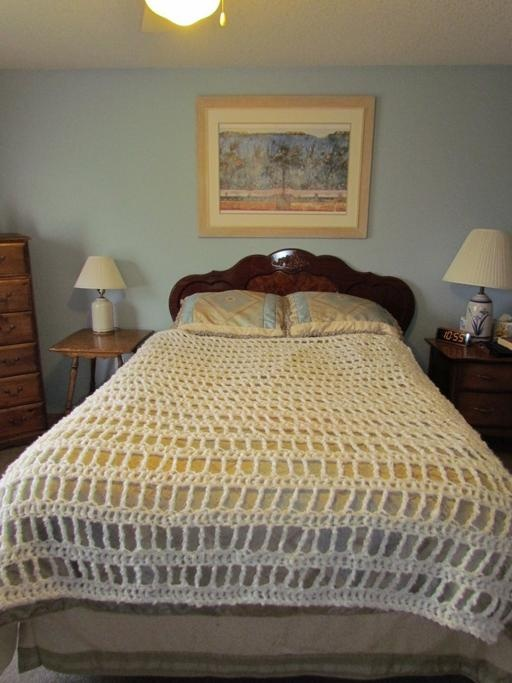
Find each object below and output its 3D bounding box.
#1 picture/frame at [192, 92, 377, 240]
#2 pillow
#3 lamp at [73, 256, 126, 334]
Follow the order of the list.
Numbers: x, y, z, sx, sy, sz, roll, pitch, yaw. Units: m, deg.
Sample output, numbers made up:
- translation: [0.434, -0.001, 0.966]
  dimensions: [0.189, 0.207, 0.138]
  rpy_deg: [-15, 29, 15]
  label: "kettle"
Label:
- translation: [0.166, -0.944, 2.937]
  dimensions: [0.845, 0.574, 0.030]
  rpy_deg: [2, 27, 3]
  label: "picture/frame"
- translation: [0.117, -0.116, 2.564]
  dimensions: [0.711, 0.097, 0.393]
  rpy_deg: [0, 25, -1]
  label: "pillow"
- translation: [-0.828, -0.263, 3.012]
  dimensions: [0.281, 0.406, 0.268]
  rpy_deg: [7, 26, 10]
  label: "lamp"
